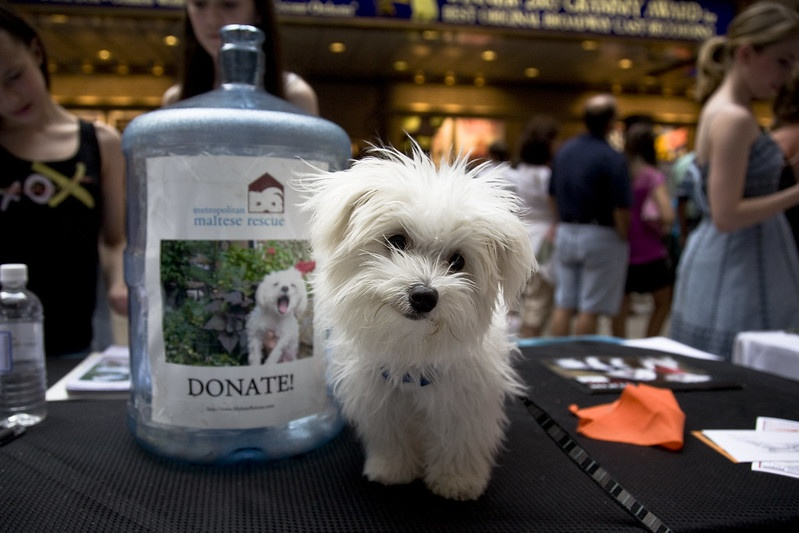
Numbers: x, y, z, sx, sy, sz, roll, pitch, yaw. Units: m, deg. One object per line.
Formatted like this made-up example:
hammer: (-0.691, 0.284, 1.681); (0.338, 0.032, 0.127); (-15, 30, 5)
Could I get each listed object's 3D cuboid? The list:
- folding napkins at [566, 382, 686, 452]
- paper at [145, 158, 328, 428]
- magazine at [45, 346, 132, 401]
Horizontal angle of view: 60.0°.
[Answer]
folding napkins: (0.568, 0.373, 1.701); (0.194, 0.069, 0.176); (0, 12, 8)
paper: (-0.436, 0.030, 1.762); (0.569, 0.768, 0.489); (2, 3, -3)
magazine: (-0.841, 0.304, 1.887); (0.148, 0.011, 0.209); (1, 20, -8)
